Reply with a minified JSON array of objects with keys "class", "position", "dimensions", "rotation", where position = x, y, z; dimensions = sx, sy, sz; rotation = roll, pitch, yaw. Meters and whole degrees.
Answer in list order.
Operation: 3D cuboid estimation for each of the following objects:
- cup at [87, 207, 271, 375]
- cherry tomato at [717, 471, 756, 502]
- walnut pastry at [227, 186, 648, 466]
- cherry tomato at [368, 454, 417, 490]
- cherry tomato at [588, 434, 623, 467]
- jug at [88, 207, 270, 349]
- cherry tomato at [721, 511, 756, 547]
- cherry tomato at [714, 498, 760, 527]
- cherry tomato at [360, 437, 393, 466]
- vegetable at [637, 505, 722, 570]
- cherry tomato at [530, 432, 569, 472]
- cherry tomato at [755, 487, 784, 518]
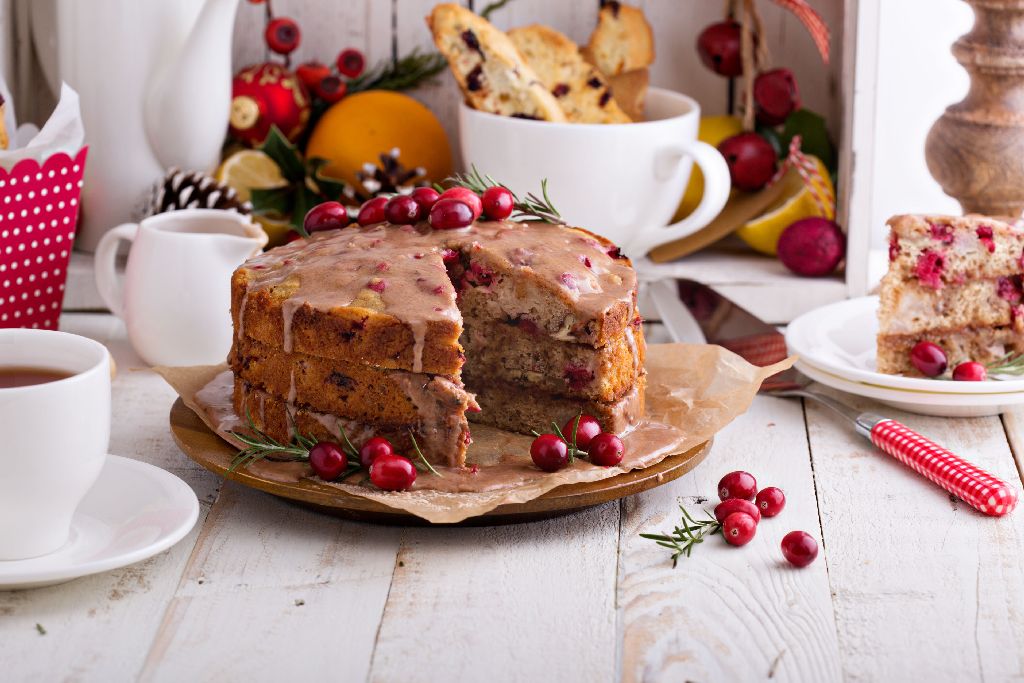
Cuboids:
[{"class":"cup","position":[-0.536,-0.085,1.545],"dimensions":[0.297,0.244,0.218],"rotation":[1,12,-10]},{"class":"cherry tomato","position":[0.298,0.191,1.264],"dimensions":[0.041,0.031,0.039],"rotation":[-5,-6,4]},{"class":"walnut pastry","position":[-0.105,-0.024,1.343],"dimensions":[0.449,0.212,0.456],"rotation":[1,16,1]},{"class":"cherry tomato","position":[-0.152,0.160,1.197],"dimensions":[0.049,0.039,0.038],"rotation":[5,1,-6]},{"class":"cherry tomato","position":[0.122,0.140,1.262],"dimensions":[0.034,0.036,0.046],"rotation":[4,5,-13]},{"class":"jug","position":[-0.536,-0.120,1.649],"dimensions":[0.286,0.214,0.208],"rotation":[1,12,-3]},{"class":"cherry tomato","position":[0.284,0.233,1.196],"dimensions":[0.038,0.039,0.046],"rotation":[21,8,18]},{"class":"cherry tomato","position":[0.286,0.216,1.226],"dimensions":[0.037,0.020,0.035],"rotation":[5,-3,-13]},{"class":"cherry tomato","position":[-0.172,0.139,1.241],"dimensions":[0.030,0.031,0.040],"rotation":[23,26,0]},{"class":"vegetable","position":[0.214,0.244,1.197],"dimensions":[0.068,0.037,0.086],"rotation":[16,29,33]},{"class":"cherry tomato","position":[0.050,0.145,1.251],"dimensions":[0.044,0.063,0.046],"rotation":[-8,7,5]},{"class":"cherry tomato","position":[0.336,0.208,1.247],"dimensions":[0.030,0.032,0.040],"rotation":[-3,12,30]}]
